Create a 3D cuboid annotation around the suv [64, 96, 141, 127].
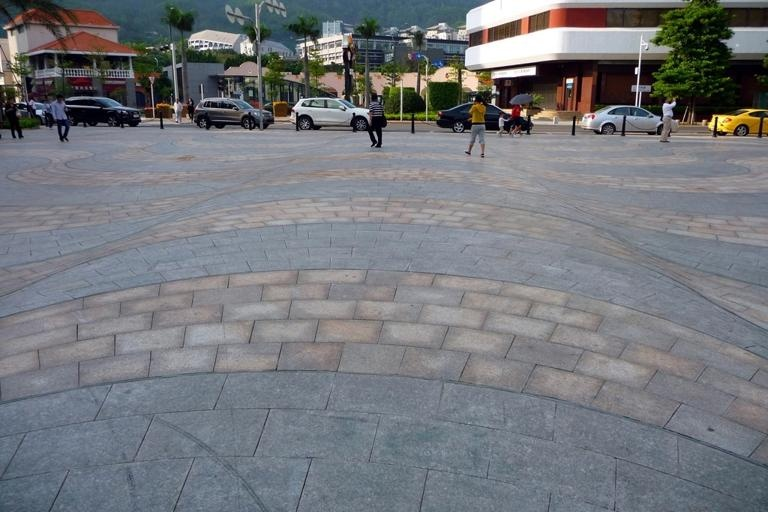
[{"bbox_3d":[-18.292,-9.406,36.839,5.559,1.758,2.179,1,19,1],"label":"suv"}]
